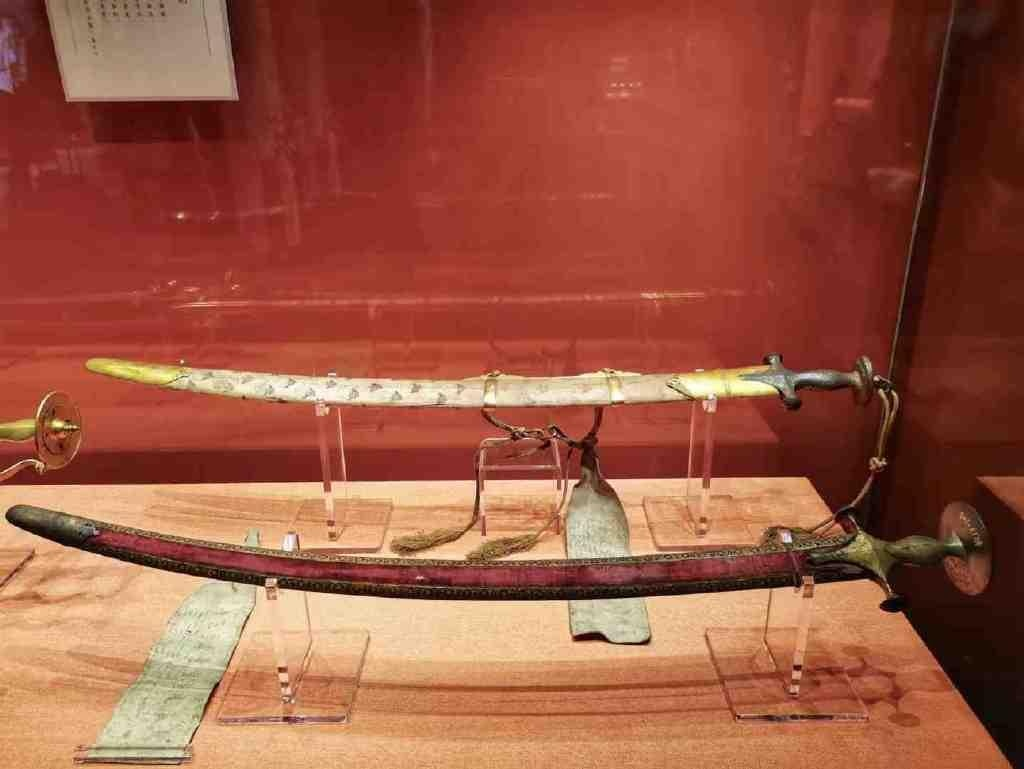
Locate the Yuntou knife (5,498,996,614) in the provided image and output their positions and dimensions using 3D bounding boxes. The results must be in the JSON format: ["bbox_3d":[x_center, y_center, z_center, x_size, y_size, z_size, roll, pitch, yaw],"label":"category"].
[{"bbox_3d":[-0.026,0.611,2.930,2.833,0.386,0.329,-1,-74,4],"label":"Yuntou knife"}]
